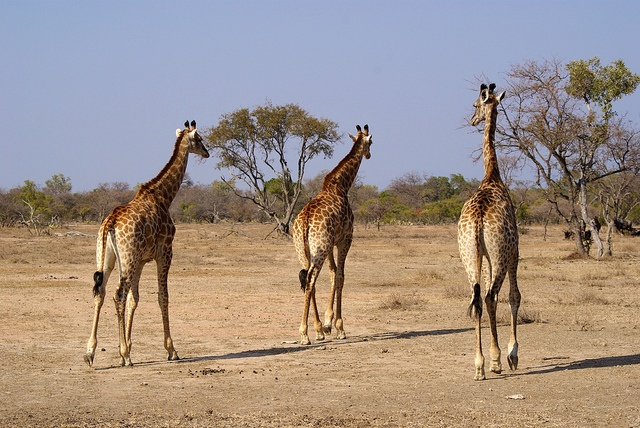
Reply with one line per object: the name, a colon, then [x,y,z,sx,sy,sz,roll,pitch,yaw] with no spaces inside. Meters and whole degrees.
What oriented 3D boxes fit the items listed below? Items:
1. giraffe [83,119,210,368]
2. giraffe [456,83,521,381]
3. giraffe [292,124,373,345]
giraffe: [-4.050,0.583,17.978,2.319,5.352,2.553,0,7,-4]
giraffe: [3.754,0.268,17.395,1.322,6.261,2.421,2,7,14]
giraffe: [0.203,0.710,20.015,1.061,4.582,2.770,3,7,23]
